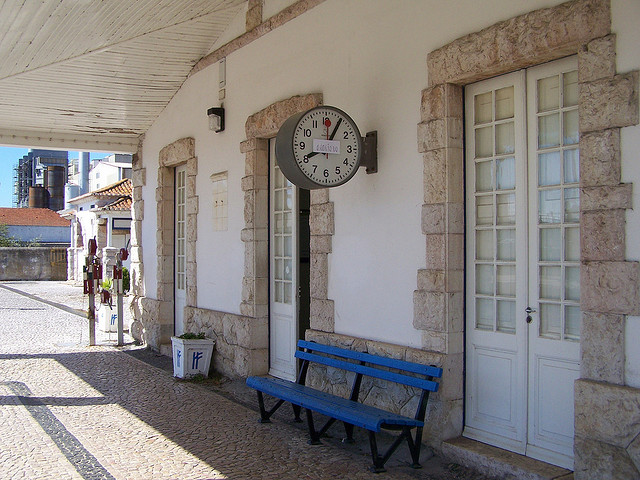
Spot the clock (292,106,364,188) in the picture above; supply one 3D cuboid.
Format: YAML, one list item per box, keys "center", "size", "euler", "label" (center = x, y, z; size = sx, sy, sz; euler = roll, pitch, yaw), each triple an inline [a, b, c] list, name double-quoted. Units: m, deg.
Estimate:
- center: [0.064, -0.865, 5.306]
  size: [0.737, 0.838, 0.202]
  euler: [-4, 4, -36]
  label: "clock"

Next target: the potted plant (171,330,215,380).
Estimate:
- center: [-1.813, 1.585, 7.878]
  size: [0.556, 0.799, 0.536]
  euler: [5, -6, -41]
  label: "potted plant"

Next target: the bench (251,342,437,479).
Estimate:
- center: [0.266, 1.542, 5.351]
  size: [0.940, 0.903, 1.915]
  euler: [-3, 2, -37]
  label: "bench"
